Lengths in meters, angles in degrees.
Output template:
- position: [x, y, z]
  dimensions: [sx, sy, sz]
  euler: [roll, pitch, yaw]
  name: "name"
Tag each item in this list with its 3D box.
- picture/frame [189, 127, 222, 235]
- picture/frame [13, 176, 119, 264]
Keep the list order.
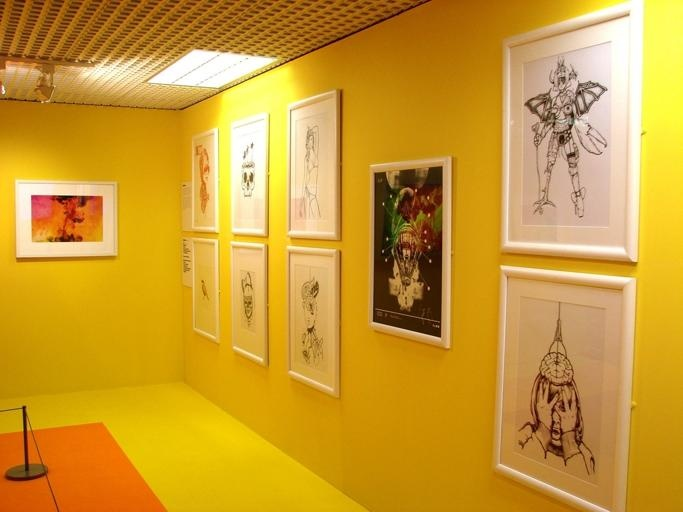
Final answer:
- position: [-1.685, -0.924, 6.434]
  dimensions: [0.041, 1.235, 0.809]
  euler: [-1, 3, -36]
  name: "picture/frame"
- position: [-3.634, -0.478, 6.762]
  dimensions: [0.977, 0.956, 0.069]
  euler: [-3, 4, -25]
  name: "picture/frame"
